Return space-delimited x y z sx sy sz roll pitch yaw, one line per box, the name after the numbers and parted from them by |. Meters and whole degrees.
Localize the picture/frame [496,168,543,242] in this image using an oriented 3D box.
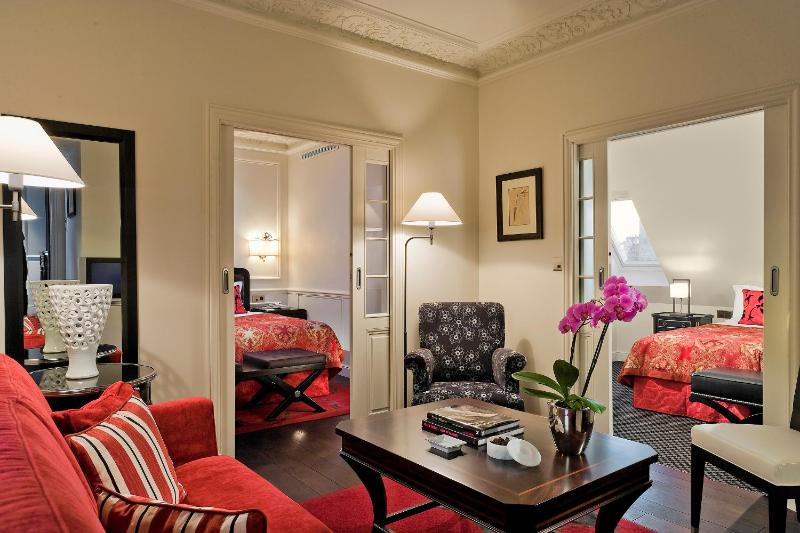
1.157 -0.577 5.238 0.540 0.675 0.046 -10 13 -26 | picture/frame

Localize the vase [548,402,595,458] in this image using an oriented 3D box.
0.931 0.881 3.011 0.261 0.283 0.269 0 1 8 | vase

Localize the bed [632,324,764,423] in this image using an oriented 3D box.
2.979 1.050 5.617 1.297 0.454 0.897 0 0 -42 | bed

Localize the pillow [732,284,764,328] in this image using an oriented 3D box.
4.347 0.502 6.692 0.173 0.508 0.535 8 -1 -15 | pillow

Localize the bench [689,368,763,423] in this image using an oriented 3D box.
2.829 1.071 4.654 0.452 0.434 0.679 -2 2 -29 | bench

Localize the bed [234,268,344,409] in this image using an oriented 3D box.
-1.903 0.705 6.662 1.453 1.403 2.353 2 -1 -38 | bed

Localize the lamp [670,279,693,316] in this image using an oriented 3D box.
3.877 0.418 7.542 0.284 0.498 0.258 6 2 -1 | lamp

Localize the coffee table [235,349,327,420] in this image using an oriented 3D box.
-1.226 1.197 5.473 0.970 0.580 0.556 -2 1 -44 | coffee table

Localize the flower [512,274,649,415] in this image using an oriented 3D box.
1.048 0.476 2.968 0.581 0.836 0.430 10 -4 41 | flower

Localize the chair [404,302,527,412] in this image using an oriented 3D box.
0.574 0.794 4.816 0.955 1.112 0.936 0 -13 1 | chair

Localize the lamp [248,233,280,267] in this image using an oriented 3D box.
-2.109 -0.290 8.384 0.445 0.450 0.140 2 -6 -8 | lamp
